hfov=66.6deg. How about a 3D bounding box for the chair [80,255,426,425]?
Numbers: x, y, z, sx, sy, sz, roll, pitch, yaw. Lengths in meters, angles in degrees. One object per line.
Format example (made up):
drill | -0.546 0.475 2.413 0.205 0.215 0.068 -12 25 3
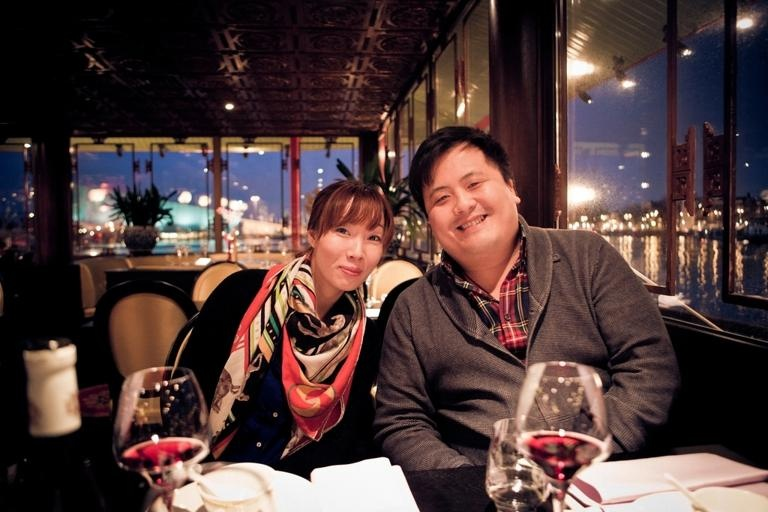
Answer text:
chair | -0.713 0.503 3.375 1.250 0.680 0.538 0 -3 -6

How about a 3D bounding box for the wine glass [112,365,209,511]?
wine glass | -0.900 0.741 2.373 0.297 0.539 0.276 3 6 36

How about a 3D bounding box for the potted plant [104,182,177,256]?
potted plant | -3.554 -0.591 8.679 1.019 1.096 1.027 6 8 42
